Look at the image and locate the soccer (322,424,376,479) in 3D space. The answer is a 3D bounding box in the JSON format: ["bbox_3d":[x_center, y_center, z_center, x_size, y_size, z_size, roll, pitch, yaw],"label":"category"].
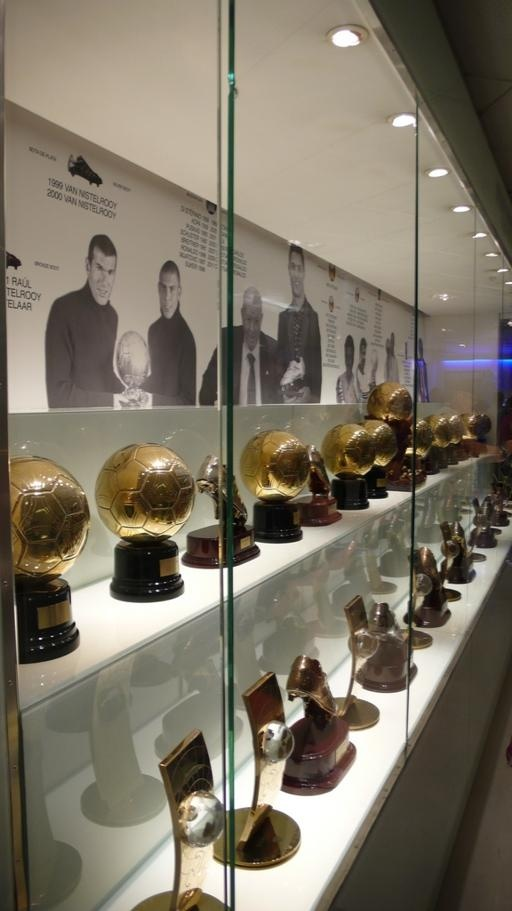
[{"bbox_3d":[0.151,-0.003,1.022,0.077,0.113,0.088,1,-1,-7],"label":"soccer"}]

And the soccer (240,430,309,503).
[{"bbox_3d":[0.027,0.024,0.740,0.078,0.110,0.081,13,1,-4],"label":"soccer"}]

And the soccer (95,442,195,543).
[{"bbox_3d":[-0.129,0.047,0.706,0.118,0.112,0.061,-4,7,-19],"label":"soccer"}]
